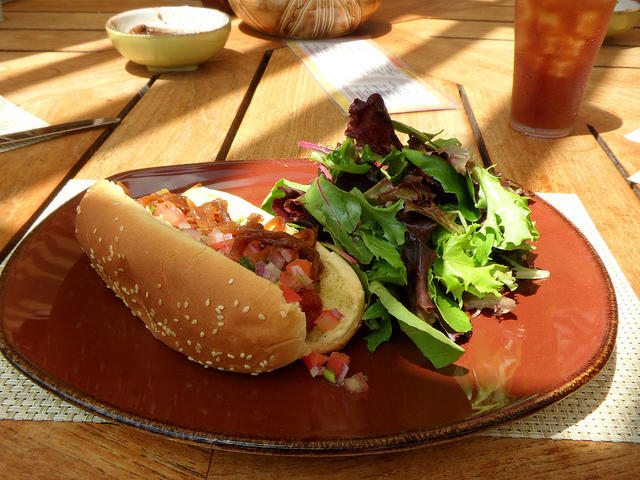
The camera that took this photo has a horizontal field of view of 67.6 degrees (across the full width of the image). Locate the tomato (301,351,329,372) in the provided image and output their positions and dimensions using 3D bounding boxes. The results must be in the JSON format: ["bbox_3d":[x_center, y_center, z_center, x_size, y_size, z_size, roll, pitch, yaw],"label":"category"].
[{"bbox_3d":[-0.018,0.306,1.207,0.046,0.014,0.046,-18,27,-32],"label":"tomato"}]

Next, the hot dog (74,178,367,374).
[{"bbox_3d":[-0.378,0.124,1.417,0.885,0.278,0.437,20,35,24],"label":"hot dog"}]

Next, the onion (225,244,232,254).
[{"bbox_3d":[-0.265,0.026,1.368,0.020,0.012,0.018,-32,67,31],"label":"onion"}]

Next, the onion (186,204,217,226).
[{"bbox_3d":[-0.363,-0.076,1.450,0.085,0.023,0.068,10,64,-3],"label":"onion"}]

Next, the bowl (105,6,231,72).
[{"bbox_3d":[-0.761,-1.088,2.501,0.585,0.260,0.505,-15,51,-6],"label":"bowl"}]

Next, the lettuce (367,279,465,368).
[{"bbox_3d":[0.237,0.211,1.261,0.091,0.075,0.295,-47,42,-1],"label":"lettuce"}]

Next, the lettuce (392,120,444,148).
[{"bbox_3d":[0.286,-0.332,1.489,0.214,0.069,0.028,31,98,57],"label":"lettuce"}]

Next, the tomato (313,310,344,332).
[{"bbox_3d":[0.018,0.222,1.308,0.069,0.021,0.058,-24,50,10],"label":"tomato"}]

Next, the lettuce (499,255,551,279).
[{"bbox_3d":[0.578,0.080,1.315,0.081,0.030,0.044,4,38,34],"label":"lettuce"}]

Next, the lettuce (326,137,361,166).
[{"bbox_3d":[0.067,-0.269,1.477,0.104,0.072,0.087,-7,52,1],"label":"lettuce"}]

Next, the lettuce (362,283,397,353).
[{"bbox_3d":[0.160,0.216,1.269,0.070,0.163,0.028,20,16,29],"label":"lettuce"}]

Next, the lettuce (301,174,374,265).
[{"bbox_3d":[0.053,-0.077,1.410,0.152,0.266,0.057,-25,45,16],"label":"lettuce"}]

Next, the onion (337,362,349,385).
[{"bbox_3d":[0.051,0.326,1.162,0.016,0.012,0.046,22,43,14],"label":"onion"}]

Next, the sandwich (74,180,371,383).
[{"bbox_3d":[-0.372,0.143,1.462,0.916,0.283,0.436,23,35,25],"label":"sandwich"}]

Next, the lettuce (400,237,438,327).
[{"bbox_3d":[0.244,0.121,1.317,0.110,0.070,0.227,-1,50,-8],"label":"lettuce"}]

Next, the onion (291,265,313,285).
[{"bbox_3d":[-0.056,0.096,1.303,0.045,0.055,0.016,-11,39,12],"label":"onion"}]

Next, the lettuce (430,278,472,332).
[{"bbox_3d":[0.343,0.180,1.271,0.060,0.024,0.182,-10,18,-6],"label":"lettuce"}]
